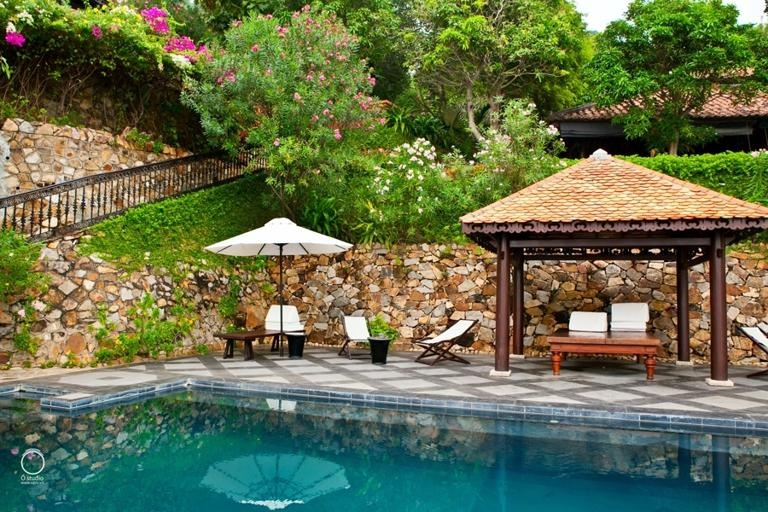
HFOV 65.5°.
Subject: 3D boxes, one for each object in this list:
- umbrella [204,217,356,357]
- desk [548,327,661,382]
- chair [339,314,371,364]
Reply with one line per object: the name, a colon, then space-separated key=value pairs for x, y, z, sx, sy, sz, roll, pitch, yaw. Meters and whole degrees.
umbrella: x=-2.598 y=0.573 z=15.928 sx=3.826 sy=3.331 sz=3.579 roll=-1 pitch=-4 yaw=-5
desk: x=4.898 y=2.049 z=13.701 sx=2.243 sy=1.055 sz=2.276 roll=3 pitch=10 yaw=13
chair: x=-0.815 y=2.033 z=15.529 sx=0.841 sy=1.044 sz=1.088 roll=2 pitch=2 yaw=-24
